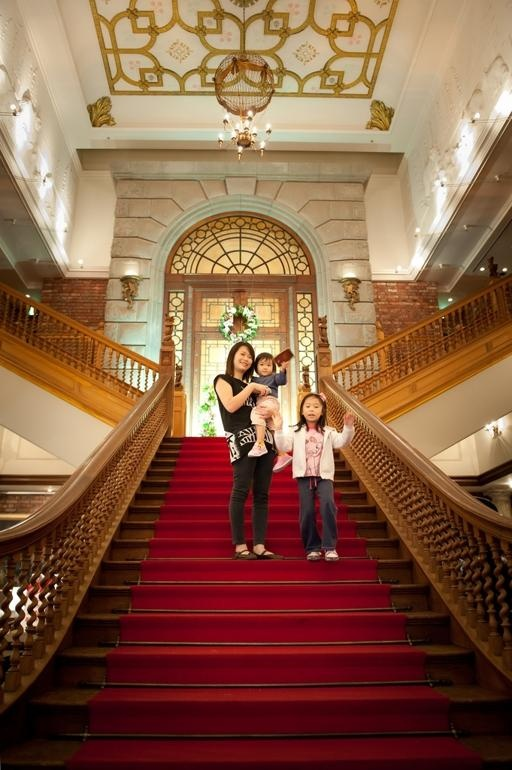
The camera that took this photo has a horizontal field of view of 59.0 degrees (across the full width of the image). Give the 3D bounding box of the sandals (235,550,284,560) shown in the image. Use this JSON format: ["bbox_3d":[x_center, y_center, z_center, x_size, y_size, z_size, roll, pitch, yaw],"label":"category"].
[{"bbox_3d":[0.020,0.970,2.555,0.265,0.065,0.089,0,-13,-4],"label":"sandals"}]

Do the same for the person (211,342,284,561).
[{"bbox_3d":[-0.062,0.366,2.752,0.327,1.307,0.407,-3,-9,8],"label":"person"}]

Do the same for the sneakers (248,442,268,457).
[{"bbox_3d":[0.006,0.375,2.552,0.057,0.061,0.140,1,-7,11],"label":"sneakers"}]

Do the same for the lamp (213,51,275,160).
[{"bbox_3d":[-0.210,-5.229,8.319,0.950,1.668,0.943,6,13,39],"label":"lamp"}]

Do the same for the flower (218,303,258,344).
[{"bbox_3d":[-0.345,-1.249,9.007,0.562,0.881,0.797,7,-11,-43],"label":"flower"}]

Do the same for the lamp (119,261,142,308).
[{"bbox_3d":[-2.454,-1.981,8.896,0.382,1.056,0.231,1,-9,-17],"label":"lamp"}]

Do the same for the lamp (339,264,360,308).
[{"bbox_3d":[1.876,-1.973,8.999,0.424,1.007,0.227,-2,-9,2],"label":"lamp"}]
